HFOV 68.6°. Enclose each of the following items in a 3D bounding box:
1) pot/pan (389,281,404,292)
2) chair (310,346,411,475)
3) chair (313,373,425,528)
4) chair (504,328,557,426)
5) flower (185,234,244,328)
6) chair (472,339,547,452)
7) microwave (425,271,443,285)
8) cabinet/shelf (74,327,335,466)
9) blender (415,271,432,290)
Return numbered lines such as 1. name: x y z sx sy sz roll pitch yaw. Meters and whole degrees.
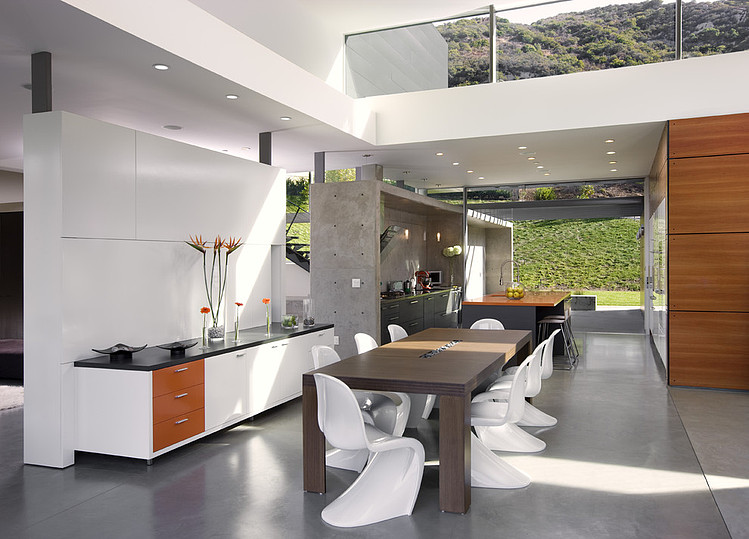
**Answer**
1. pot/pan: 0.448 0.347 11.720 0.220 0.166 0.224 0 2 33
2. chair: -0.018 1.366 5.536 1.087 1.452 1.091 -3 -2 -2
3. chair: -0.044 1.430 4.560 0.733 1.130 0.851 -2 -5 42
4. chair: 1.700 1.326 6.456 0.803 0.994 0.602 -8 6 12
5. flower: -2.005 0.122 7.036 0.230 1.132 0.906 2 7 18
6. chair: 1.169 1.263 5.304 0.739 0.878 0.641 -5 10 19
7. microwave: 1.487 0.215 13.743 0.304 0.422 0.445 0 -2 16
8. cabinet/shelf: -1.912 1.307 6.145 0.694 1.019 2.470 4 7 36
9. blender: 1.122 0.259 12.730 0.428 0.419 0.332 1 -3 -6
